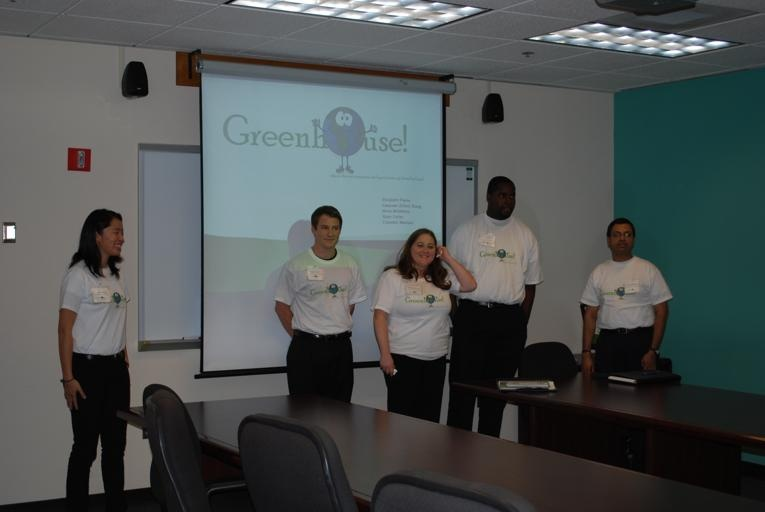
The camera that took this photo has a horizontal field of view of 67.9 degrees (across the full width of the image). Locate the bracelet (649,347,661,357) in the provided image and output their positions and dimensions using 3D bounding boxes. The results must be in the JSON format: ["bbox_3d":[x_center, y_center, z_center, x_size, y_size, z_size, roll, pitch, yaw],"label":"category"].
[{"bbox_3d":[2.343,0.853,4.908,0.062,0.079,0.120,2,8,22],"label":"bracelet"}]

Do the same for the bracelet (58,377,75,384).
[{"bbox_3d":[-2.330,0.926,4.208,0.090,0.035,0.128,1,-2,-5],"label":"bracelet"}]

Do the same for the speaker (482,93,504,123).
[{"bbox_3d":[1.165,-1.570,6.018,0.222,0.316,0.237,1,7,9],"label":"speaker"}]

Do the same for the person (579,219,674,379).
[{"bbox_3d":[2.121,0.385,4.993,0.731,1.379,0.578,3,7,26],"label":"person"}]

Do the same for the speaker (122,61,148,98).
[{"bbox_3d":[-2.134,-1.524,4.872,0.229,0.316,0.273,-4,8,-24],"label":"speaker"}]

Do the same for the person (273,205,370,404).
[{"bbox_3d":[-0.509,0.403,4.780,0.780,1.609,0.434,-2,7,-13],"label":"person"}]

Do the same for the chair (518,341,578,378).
[{"bbox_3d":[1.291,0.824,4.592,0.306,0.443,0.362,0,-6,-13],"label":"chair"}]

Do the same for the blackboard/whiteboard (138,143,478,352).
[{"bbox_3d":[-0.806,-0.027,5.100,1.903,2.160,0.078,0,-4,-21],"label":"blackboard/whiteboard"}]
